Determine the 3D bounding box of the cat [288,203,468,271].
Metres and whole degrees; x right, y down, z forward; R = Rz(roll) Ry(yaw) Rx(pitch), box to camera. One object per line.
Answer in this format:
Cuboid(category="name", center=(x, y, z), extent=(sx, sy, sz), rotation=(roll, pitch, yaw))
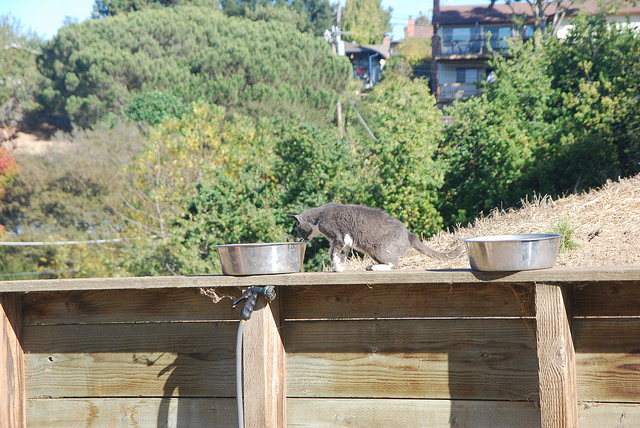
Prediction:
Cuboid(category="cat", center=(0.882, 0.452, 30.127), extent=(2.832, 1.315, 0.775), rotation=(-4, 2, -2))
